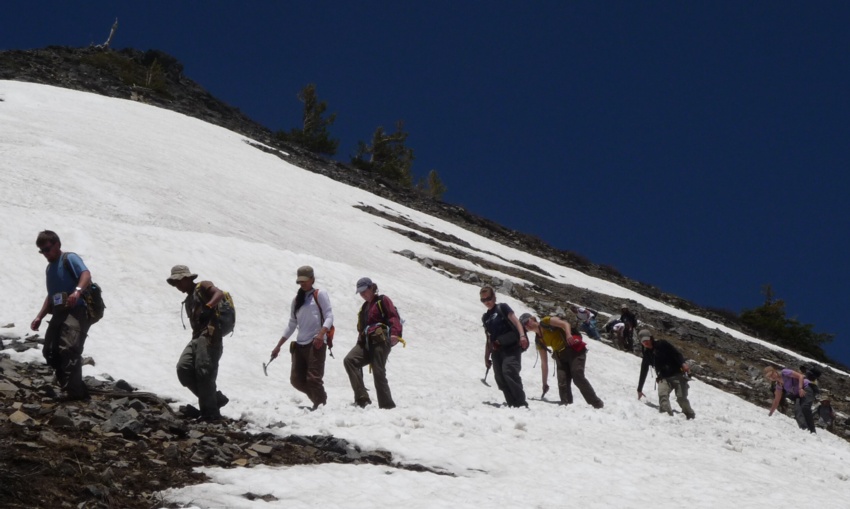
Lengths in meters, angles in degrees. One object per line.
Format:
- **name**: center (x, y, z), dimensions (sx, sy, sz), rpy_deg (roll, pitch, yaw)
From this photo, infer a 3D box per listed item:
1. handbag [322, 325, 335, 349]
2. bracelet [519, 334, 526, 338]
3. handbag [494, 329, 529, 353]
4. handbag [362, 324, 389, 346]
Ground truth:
- **handbag**: center (-4.030, 3.370, 48.133), dimensions (0.244, 0.902, 0.560), rpy_deg (11, -3, 34)
- **bracelet**: center (4.034, 3.371, 49.200), dimensions (0.175, 0.157, 0.138), rpy_deg (13, -3, -19)
- **handbag**: center (3.593, 3.608, 49.360), dimensions (1.433, 0.773, 0.459), rpy_deg (9, -5, 29)
- **handbag**: center (-2.040, 3.288, 48.331), dimensions (0.971, 0.807, 0.380), rpy_deg (-2, 1, 5)
